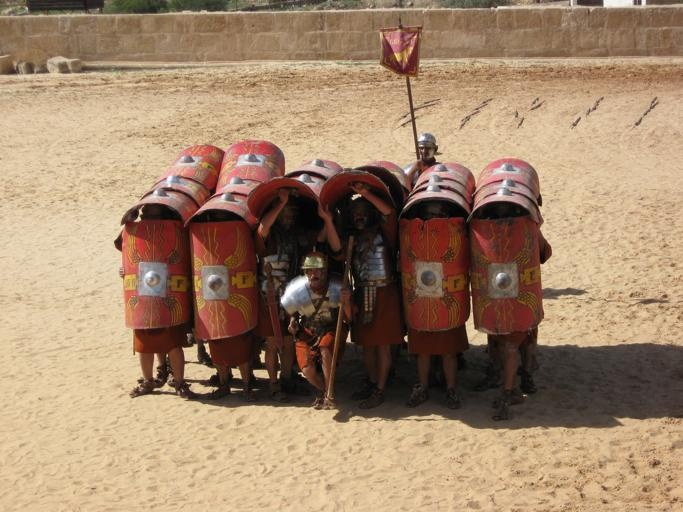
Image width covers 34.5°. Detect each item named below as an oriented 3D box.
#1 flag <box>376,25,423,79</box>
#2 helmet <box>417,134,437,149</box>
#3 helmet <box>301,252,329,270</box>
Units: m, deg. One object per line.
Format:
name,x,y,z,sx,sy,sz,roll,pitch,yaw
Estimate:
flag,0.917,-3.150,16.959,0.423,0.763,0.798,-6,13,-25
helmet,1.236,-1.692,16.084,0.276,0.180,0.256,2,-4,7
helmet,-0.370,0.073,14.578,0.281,0.177,0.288,0,-2,38
